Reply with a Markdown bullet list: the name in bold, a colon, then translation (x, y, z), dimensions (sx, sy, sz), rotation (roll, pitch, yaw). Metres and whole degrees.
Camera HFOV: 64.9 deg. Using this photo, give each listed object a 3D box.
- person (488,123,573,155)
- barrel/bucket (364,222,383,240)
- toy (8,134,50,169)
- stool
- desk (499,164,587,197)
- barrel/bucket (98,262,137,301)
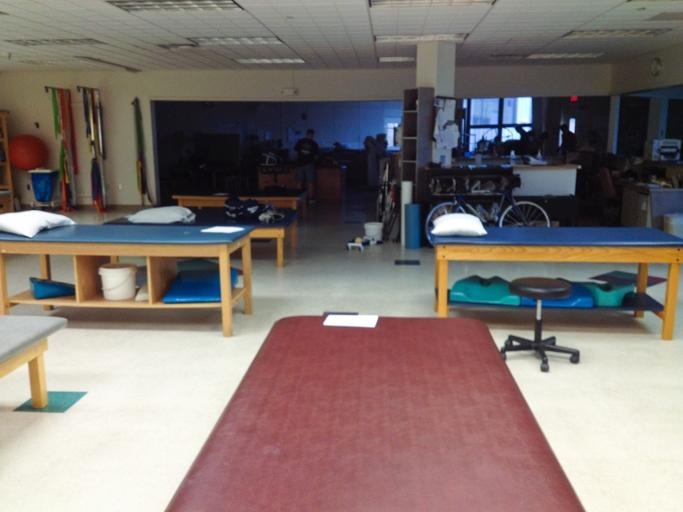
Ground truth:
- **person**: translation (4.218, -2.556, 11.859), dimensions (1.822, 0.664, 0.601), rotation (-3, 14, -4)
- **barrel/bucket**: translation (0.549, -0.404, 8.980), dimensions (0.352, 0.296, 0.297), rotation (-5, 15, -12)
- **toy**: translation (-7.055, -2.346, 12.130), dimensions (0.752, 0.757, 0.321), rotation (-10, 17, -26)
- **stool**: translation (1.607, 0.528, 4.431), dimensions (0.739, 0.640, 0.636), rotation (-4, 7, -34)
- **desk**: translation (3.644, -1.359, 9.618), dimensions (1.068, 0.489, 0.763), rotation (0, 7, 9)
- **barrel/bucket**: translation (-2.057, 0.234, 5.099), dimensions (0.376, 0.269, 0.323), rotation (4, 7, -4)
